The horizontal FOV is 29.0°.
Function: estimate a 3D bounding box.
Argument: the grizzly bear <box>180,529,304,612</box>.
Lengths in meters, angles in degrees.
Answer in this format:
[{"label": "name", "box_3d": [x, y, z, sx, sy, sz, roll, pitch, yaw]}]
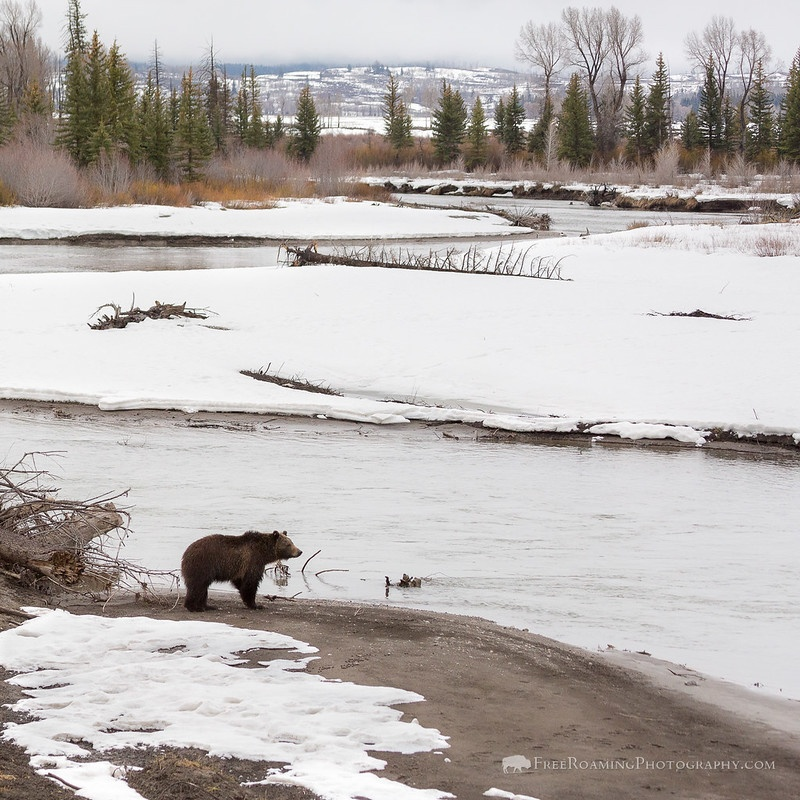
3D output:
[{"label": "grizzly bear", "box_3d": [-1.720, 1.703, 15.680, 1.479, 1.038, 0.581, 1, 2, -15]}]
